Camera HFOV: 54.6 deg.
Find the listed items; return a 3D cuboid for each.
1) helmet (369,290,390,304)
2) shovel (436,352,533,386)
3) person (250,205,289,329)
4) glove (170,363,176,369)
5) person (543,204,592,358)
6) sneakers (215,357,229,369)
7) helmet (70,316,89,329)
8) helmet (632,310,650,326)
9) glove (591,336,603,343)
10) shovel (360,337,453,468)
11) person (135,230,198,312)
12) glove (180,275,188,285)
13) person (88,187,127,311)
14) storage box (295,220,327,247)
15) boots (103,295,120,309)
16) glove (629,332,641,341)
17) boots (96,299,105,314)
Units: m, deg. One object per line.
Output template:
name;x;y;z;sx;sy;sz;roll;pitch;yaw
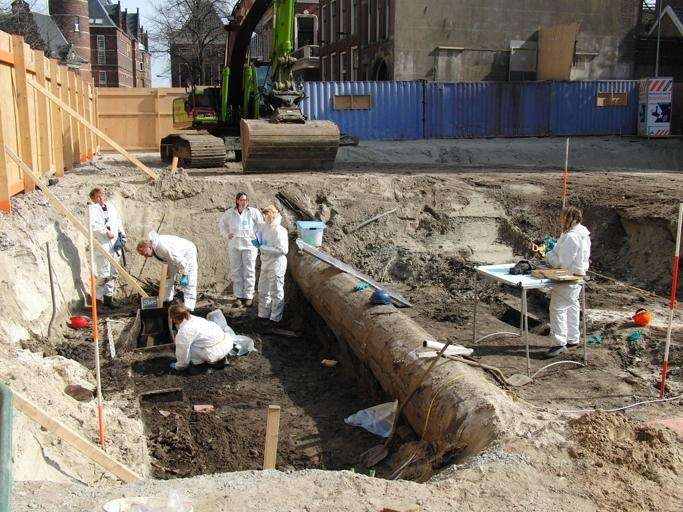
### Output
helmet;0.531;0.575;9.147;0.226;0.150;0.161;-9;19;-18
shovel;1.664;1.329;7.706;0.909;0.161;0.220;15;19;-1
person;-1.125;0.136;10.775;0.454;1.948;0.617;-6;13;-20
glove;-2.348;1.537;9.244;0.075;0.019;0.077;0;13;-6
person;2.922;0.341;8.600;0.467;1.893;0.622;9;16;41
sneakers;-1.664;1.503;9.230;0.156;0.055;0.156;12;20;41
helmet;-4.067;1.038;10.268;0.189;0.147;0.209;-6;3;-3
helmet;4.227;0.885;9.284;0.206;0.219;0.236;-24;-23;15
glove;3.519;1.138;9.040;0.084;0.053;0.109;1;2;44
shovel;0.782;1.714;7.592;0.441;2.159;0.195;31;4;6
person;-2.737;0.299;10.792;0.597;1.415;1.191;-1;12;1
glove;-2.590;0.404;10.986;0.118;0.061;0.163;6;29;5
person;-3.896;-0.120;11.055;0.498;2.015;1.321;-4;12;-13
storage box;-0.548;-0.391;12.121;0.429;0.346;0.494;1;3;-6
boots;-3.862;0.784;11.211;0.307;0.283;0.128;-3;13;-22
glove;3.935;1.079;8.836;0.139;0.060;0.107;-38;49;-15
boots;-4.037;0.856;11.108;0.101;0.182;0.186;-9;15;-27
